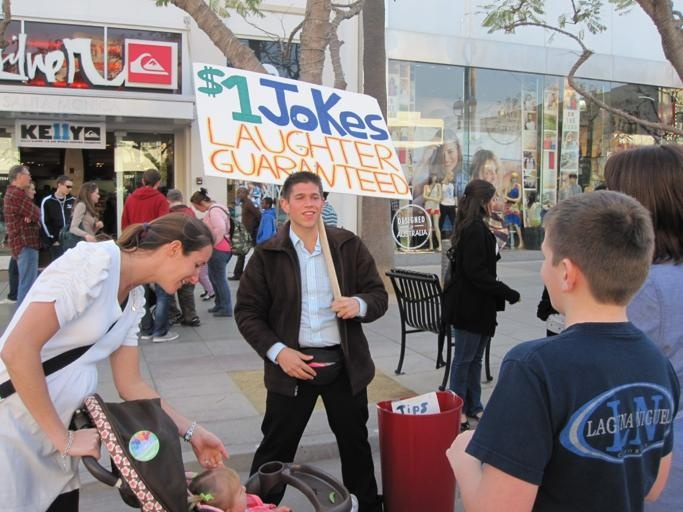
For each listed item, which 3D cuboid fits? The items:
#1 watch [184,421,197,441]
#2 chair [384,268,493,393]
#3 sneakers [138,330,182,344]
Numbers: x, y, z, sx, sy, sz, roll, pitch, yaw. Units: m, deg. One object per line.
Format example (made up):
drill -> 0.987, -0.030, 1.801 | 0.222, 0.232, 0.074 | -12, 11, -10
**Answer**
watch -> -0.784, 0.912, 2.945 | 0.061, 0.057, 0.065 | 34, 54, 10
chair -> 1.150, 0.813, 6.722 | 1.051, 1.356, 1.098 | -4, 5, -19
sneakers -> -2.644, 1.158, 8.294 | 0.512, 0.223, 0.191 | -5, 9, -21
